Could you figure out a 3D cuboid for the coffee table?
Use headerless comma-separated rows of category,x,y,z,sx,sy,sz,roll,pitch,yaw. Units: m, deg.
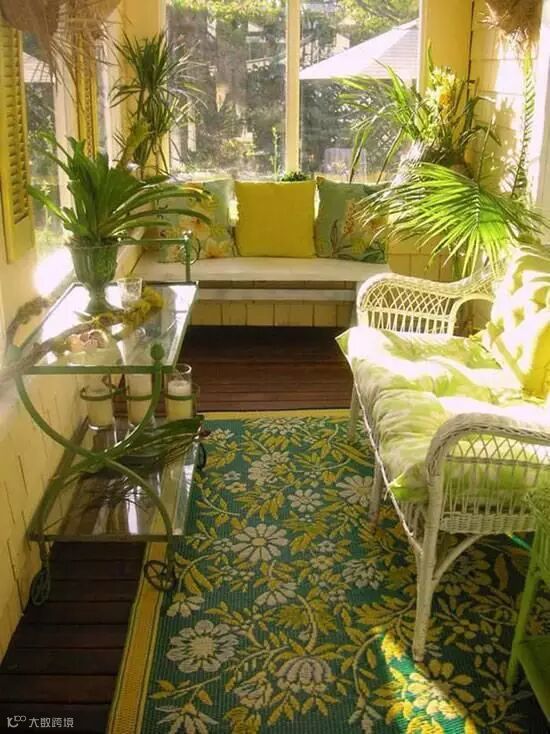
coffee table,-0.489,0.246,1.567,0.398,0.539,0.771,-1,33,-7

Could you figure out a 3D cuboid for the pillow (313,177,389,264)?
pillow,0.492,-0.931,3.512,0.637,0.669,0.241,2,11,5

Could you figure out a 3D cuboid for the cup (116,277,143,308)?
cup,-0.438,-0.224,1.625,0.080,0.088,0.089,3,29,0

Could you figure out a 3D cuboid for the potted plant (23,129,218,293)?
potted plant,-0.428,-0.410,1.570,0.544,0.490,0.437,0,12,-12

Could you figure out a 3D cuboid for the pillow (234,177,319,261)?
pillow,-0.013,-0.987,3.666,0.561,0.534,0.197,-3,7,-2

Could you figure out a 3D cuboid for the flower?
flower,0.814,-1.434,3.085,0.786,0.496,0.869,3,9,25
